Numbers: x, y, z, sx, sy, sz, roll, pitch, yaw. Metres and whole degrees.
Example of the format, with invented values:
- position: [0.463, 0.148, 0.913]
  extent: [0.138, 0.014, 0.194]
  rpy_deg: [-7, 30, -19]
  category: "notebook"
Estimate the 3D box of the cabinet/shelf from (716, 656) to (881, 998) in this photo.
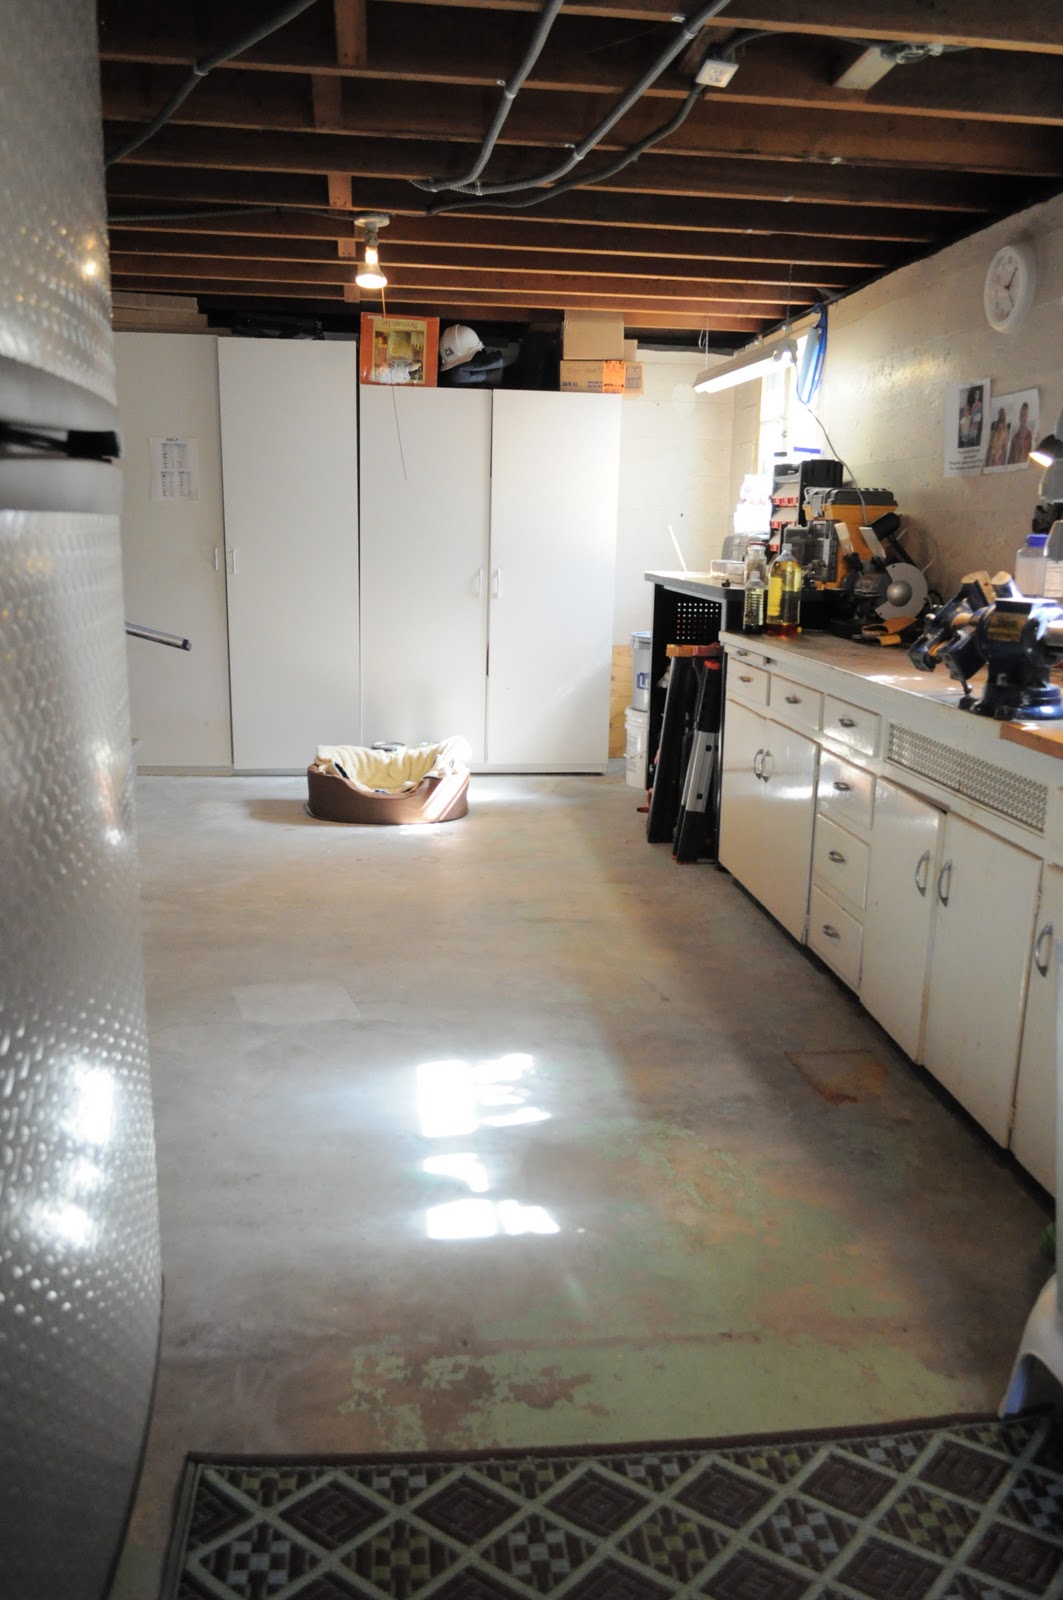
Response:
- position: [0.814, 0.094, 3.180]
  extent: [0.413, 0.769, 0.865]
  rpy_deg: [0, 17, -6]
  category: "cabinet/shelf"

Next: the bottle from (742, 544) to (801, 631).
- position: [0.924, -0.802, 4.017]
  extent: [0.214, 0.315, 0.345]
  rpy_deg: [4, 11, 13]
  category: "bottle"

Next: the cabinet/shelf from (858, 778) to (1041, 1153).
- position: [0.877, 0.353, 2.189]
  extent: [0.307, 0.574, 0.638]
  rpy_deg: [2, 11, -3]
  category: "cabinet/shelf"

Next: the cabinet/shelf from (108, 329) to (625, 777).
- position: [-0.930, -1.352, 5.502]
  extent: [2.244, 2.266, 0.798]
  rpy_deg: [0, 9, -7]
  category: "cabinet/shelf"

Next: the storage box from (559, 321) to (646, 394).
- position: [0.373, -2.451, 5.991]
  extent: [0.482, 0.401, 0.485]
  rpy_deg: [1, 15, -1]
  category: "storage box"

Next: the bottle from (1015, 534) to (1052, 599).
- position: [1.220, -0.577, 2.564]
  extent: [0.055, 0.157, 0.217]
  rpy_deg: [5, 11, 21]
  category: "bottle"
